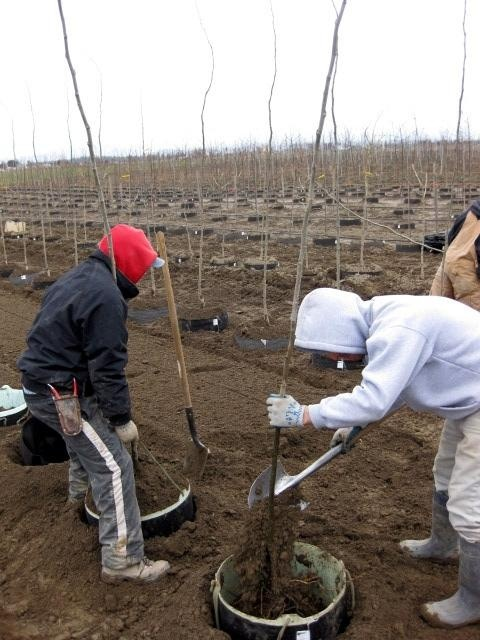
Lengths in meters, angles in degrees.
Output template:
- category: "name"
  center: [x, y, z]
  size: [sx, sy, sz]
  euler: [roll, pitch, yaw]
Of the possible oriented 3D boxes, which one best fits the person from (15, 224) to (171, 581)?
- category: "person"
  center: [-0.640, 0.370, 2.490]
  size: [0.625, 1.564, 0.400]
  euler: [-2, 10, -9]
